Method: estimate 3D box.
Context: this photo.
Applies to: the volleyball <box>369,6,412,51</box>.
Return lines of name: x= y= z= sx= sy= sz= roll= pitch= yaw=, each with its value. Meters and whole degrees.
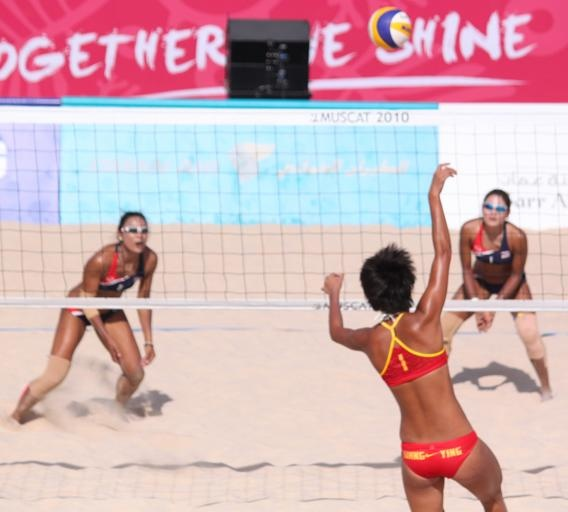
volleyball: x=0.903 y=-1.970 z=7.284 sx=0.374 sy=0.359 sz=0.301 roll=6 pitch=13 yaw=32

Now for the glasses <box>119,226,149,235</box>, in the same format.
glasses: x=-1.223 y=-0.204 z=6.895 sx=0.210 sy=0.075 sz=0.085 roll=-5 pitch=12 yaw=-18

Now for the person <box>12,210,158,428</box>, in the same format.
person: x=-1.671 y=0.548 z=7.093 sx=1.095 sy=1.976 sz=0.756 roll=6 pitch=11 yaw=-18
